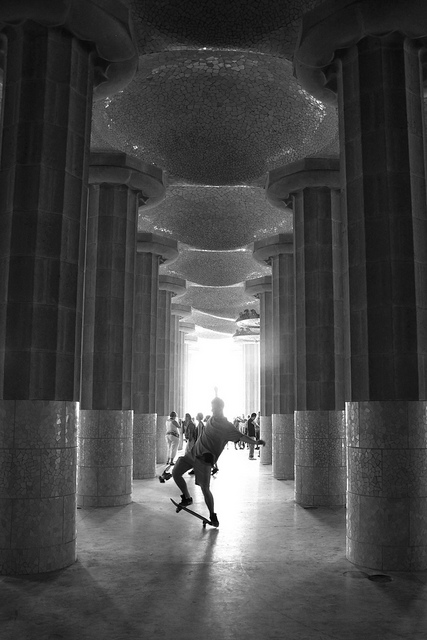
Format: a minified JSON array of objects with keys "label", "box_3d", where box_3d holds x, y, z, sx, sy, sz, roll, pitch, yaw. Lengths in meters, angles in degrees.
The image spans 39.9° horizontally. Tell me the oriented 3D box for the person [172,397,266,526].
[{"label":"person","box_3d":[-0.026,2.289,9.583,1.298,2.050,0.624,-3,-9,29]}]
